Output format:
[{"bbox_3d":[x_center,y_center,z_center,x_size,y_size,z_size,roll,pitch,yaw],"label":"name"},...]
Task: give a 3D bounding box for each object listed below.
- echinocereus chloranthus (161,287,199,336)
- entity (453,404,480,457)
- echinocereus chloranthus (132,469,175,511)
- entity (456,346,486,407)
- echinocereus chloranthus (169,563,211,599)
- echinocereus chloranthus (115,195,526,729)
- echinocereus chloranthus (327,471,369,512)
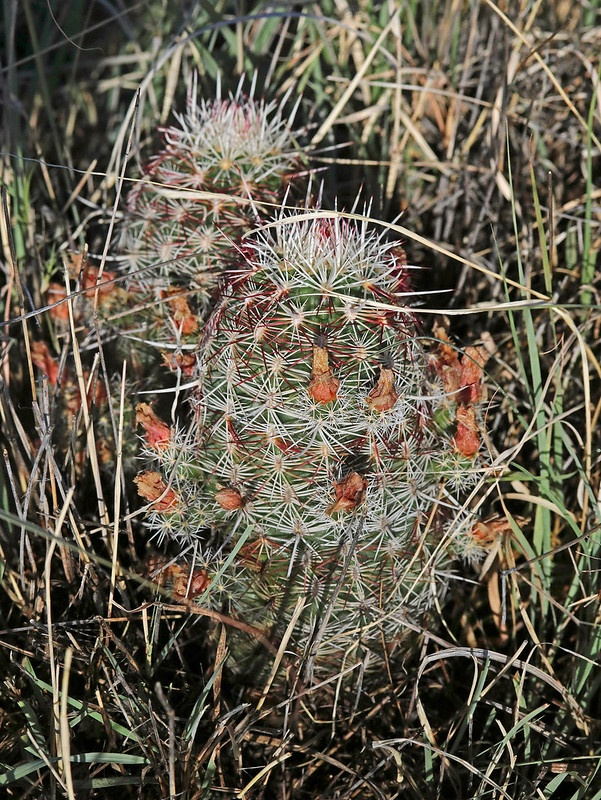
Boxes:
[{"bbox_3d":[-0.159,-0.118,1.090,0.041,0.025,0.072,-22,89,7],"label":"echinocereus chloranthus"},{"bbox_3d":[0.195,0.036,0.955,0.036,0.022,0.057,-1,97,10],"label":"entity"},{"bbox_3d":[-0.168,0.102,0.934,0.035,0.014,0.053,-44,102,-12],"label":"echinocereus chloranthus"},{"bbox_3d":[0.207,-0.030,0.989,0.036,0.022,0.080,8,67,-2],"label":"entity"},{"bbox_3d":[-0.131,0.213,0.953,0.022,0.044,0.035,-28,100,-35],"label":"echinocereus chloranthus"},{"bbox_3d":[0.023,0.031,0.972,0.446,0.389,0.566,-11,62,-9],"label":"echinocereus chloranthus"},{"bbox_3d":[0.052,0.103,0.888,0.036,0.050,0.040,15,62,6],"label":"echinocereus chloranthus"}]
